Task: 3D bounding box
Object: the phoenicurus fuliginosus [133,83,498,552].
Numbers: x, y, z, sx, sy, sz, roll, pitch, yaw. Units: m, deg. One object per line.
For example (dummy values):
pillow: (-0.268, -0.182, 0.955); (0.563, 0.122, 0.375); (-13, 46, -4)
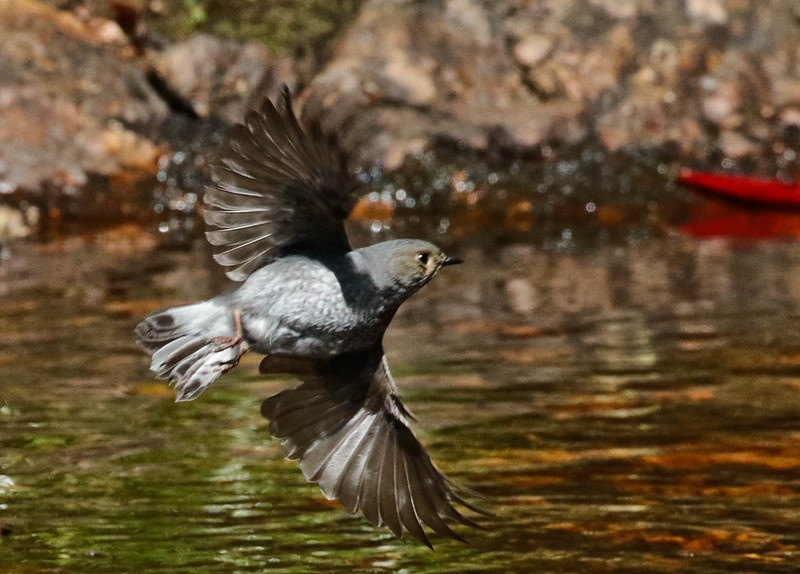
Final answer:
phoenicurus fuliginosus: (-0.522, 0.172, 6.631); (1.662, 2.499, 0.565); (-2, 6, 7)
